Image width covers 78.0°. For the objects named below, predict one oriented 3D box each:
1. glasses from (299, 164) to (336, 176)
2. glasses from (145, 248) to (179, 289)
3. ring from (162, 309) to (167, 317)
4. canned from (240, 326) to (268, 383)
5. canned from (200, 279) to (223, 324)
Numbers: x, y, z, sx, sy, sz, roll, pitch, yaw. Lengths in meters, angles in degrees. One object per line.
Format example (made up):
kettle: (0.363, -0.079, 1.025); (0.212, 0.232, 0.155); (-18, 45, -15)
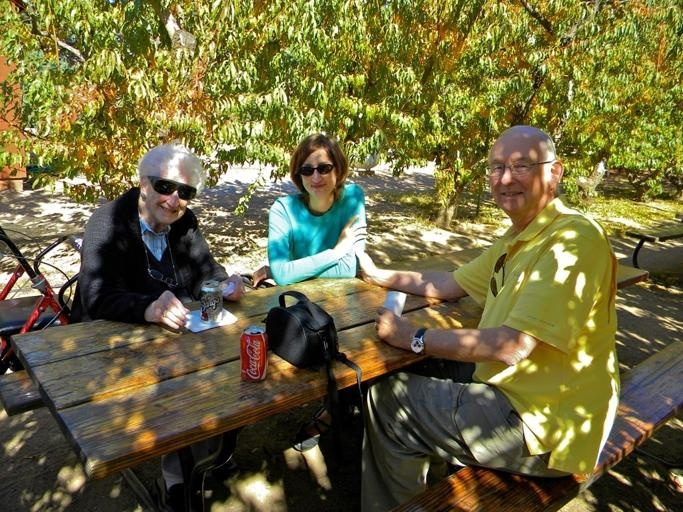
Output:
glasses: (-0.185, -0.618, 3.061); (0.239, 0.096, 0.054); (2, 19, -2)
glasses: (-1.166, 0.093, 2.743); (0.069, 0.227, 0.223); (-7, 0, 27)
ring: (-0.913, 0.301, 2.173); (0.019, 0.019, 0.005); (43, 8, 27)
canned: (-0.375, 0.424, 1.801); (0.112, 0.212, 0.108); (-2, 20, -11)
canned: (-0.693, 0.257, 2.243); (0.132, 0.228, 0.131); (-5, 29, -17)
